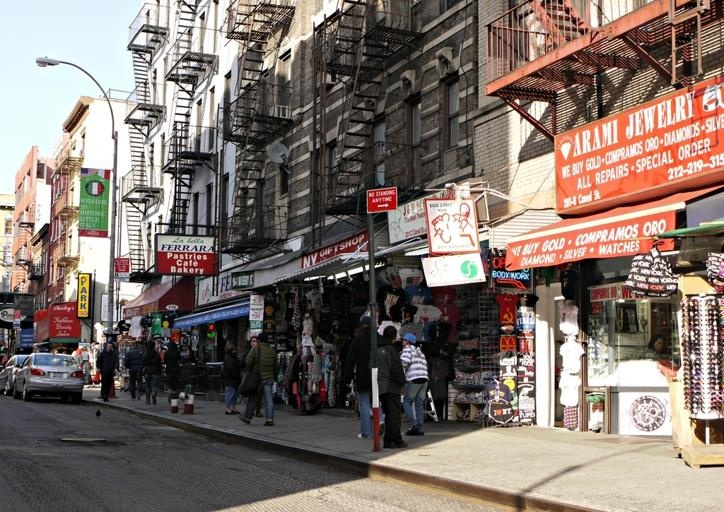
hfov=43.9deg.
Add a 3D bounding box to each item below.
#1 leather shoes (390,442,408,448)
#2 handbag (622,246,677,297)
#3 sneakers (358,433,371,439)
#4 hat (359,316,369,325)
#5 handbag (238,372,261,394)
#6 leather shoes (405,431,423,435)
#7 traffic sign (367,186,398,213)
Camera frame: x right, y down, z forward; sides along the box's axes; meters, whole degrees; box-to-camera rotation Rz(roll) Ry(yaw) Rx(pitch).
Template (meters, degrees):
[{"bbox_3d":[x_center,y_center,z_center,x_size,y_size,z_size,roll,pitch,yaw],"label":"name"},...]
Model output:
[{"bbox_3d":[0.733,3.620,17.101,0.385,0.119,0.165,10,-15,-41],"label":"leather shoes"},{"bbox_3d":[5.214,0.262,16.187,0.892,0.950,0.341,3,1,41],"label":"handbag"},{"bbox_3d":[0.059,3.722,18.455,0.095,0.118,0.263,4,-2,-31],"label":"sneakers"},{"bbox_3d":[0.060,1.509,20.906,0.203,0.161,0.211,3,-7,-11],"label":"hat"},{"bbox_3d":[-2.689,3.097,21.774,0.489,0.629,0.360,12,-37,6],"label":"handbag"},{"bbox_3d":[1.113,3.728,18.971,0.357,0.164,0.126,2,-8,11],"label":"leather shoes"},{"bbox_3d":[0.364,-1.083,16.858,0.521,0.519,0.509,0,-11,-3],"label":"traffic sign"}]
